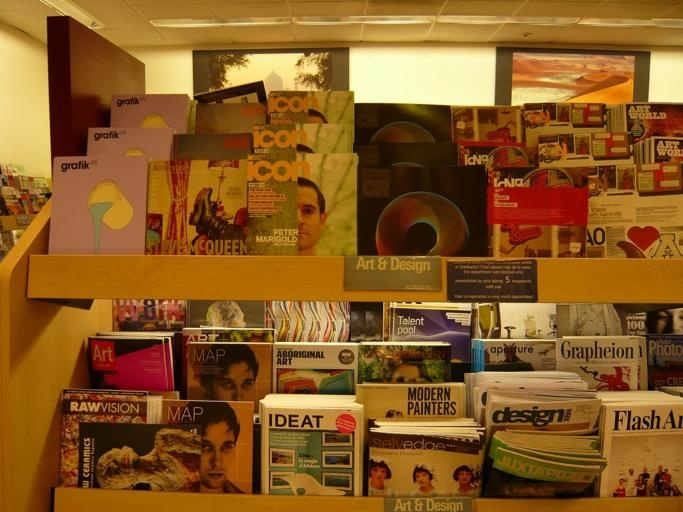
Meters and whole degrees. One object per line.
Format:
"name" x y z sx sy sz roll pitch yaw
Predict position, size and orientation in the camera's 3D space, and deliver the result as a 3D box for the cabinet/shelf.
"cabinet/shelf" 0.022 0.441 2.342 2.250 0.784 0.751 1 -2 3
